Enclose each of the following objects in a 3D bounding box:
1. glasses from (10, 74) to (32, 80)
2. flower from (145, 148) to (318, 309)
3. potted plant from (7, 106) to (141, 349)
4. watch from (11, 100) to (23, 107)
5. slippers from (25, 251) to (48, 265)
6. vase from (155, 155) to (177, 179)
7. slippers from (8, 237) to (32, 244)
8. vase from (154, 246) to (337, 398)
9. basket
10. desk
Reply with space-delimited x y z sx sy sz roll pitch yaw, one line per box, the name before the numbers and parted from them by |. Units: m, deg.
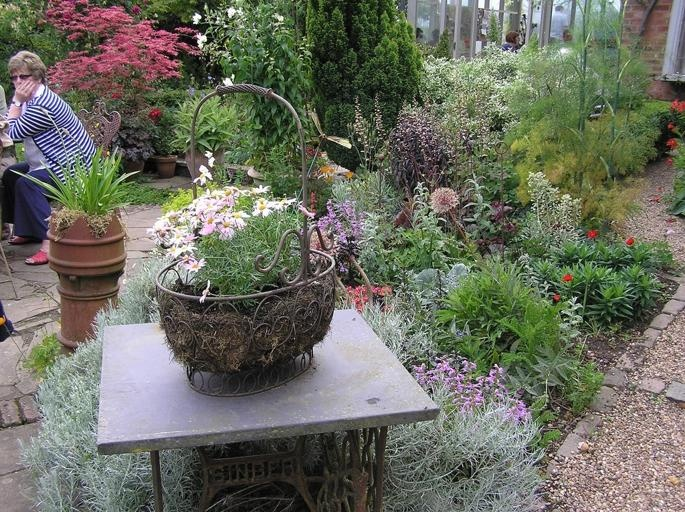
glasses | -2.938 -1.642 5.563 0.214 0.055 0.065 8 24 19
flower | -0.575 -0.127 3.077 0.683 0.574 0.747 -13 22 -38
potted plant | -1.759 -0.036 4.312 0.462 1.348 0.648 12 25 30
watch | -3.049 -1.439 5.726 0.079 0.071 0.107 -12 25 -26
slippers | -2.924 0.021 5.856 0.120 0.111 0.249 1 0 19
vase | -2.698 -1.379 9.364 0.327 0.304 0.346 -2 15 -17
slippers | -3.320 -0.158 6.307 0.198 0.091 0.077 -10 25 -17
vase | -0.498 0.276 3.086 0.925 0.601 0.896 -1 10 -26
basket | -0.417 0.351 2.535 0.648 0.436 0.667 -4 22 -5
desk | -0.424 0.358 3.005 1.190 1.131 0.988 -2 26 -7
